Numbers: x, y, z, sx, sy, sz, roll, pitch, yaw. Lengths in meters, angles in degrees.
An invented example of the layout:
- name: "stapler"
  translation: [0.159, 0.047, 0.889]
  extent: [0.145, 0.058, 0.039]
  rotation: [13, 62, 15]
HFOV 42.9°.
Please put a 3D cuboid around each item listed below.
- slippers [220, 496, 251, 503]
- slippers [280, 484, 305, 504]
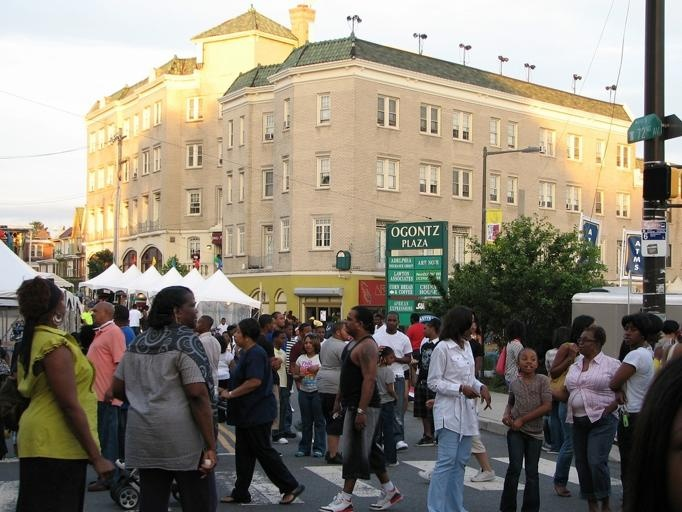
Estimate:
- name: "slippers"
  translation: [-1.389, 3.104, 11.095]
  extent: [0.367, 0.104, 0.147]
  rotation: [0, -5, -9]
- name: "slippers"
  translation: [-0.739, 3.028, 11.144]
  extent: [0.287, 0.244, 0.419]
  rotation: [0, -5, -5]
